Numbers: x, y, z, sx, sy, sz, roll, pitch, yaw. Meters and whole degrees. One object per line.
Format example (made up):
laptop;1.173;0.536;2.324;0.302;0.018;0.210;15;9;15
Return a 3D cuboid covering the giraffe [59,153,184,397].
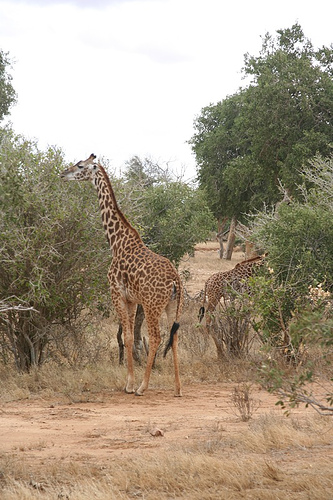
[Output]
giraffe;-0.492;0.361;8.065;1.858;2.817;0.676;0;0;39
